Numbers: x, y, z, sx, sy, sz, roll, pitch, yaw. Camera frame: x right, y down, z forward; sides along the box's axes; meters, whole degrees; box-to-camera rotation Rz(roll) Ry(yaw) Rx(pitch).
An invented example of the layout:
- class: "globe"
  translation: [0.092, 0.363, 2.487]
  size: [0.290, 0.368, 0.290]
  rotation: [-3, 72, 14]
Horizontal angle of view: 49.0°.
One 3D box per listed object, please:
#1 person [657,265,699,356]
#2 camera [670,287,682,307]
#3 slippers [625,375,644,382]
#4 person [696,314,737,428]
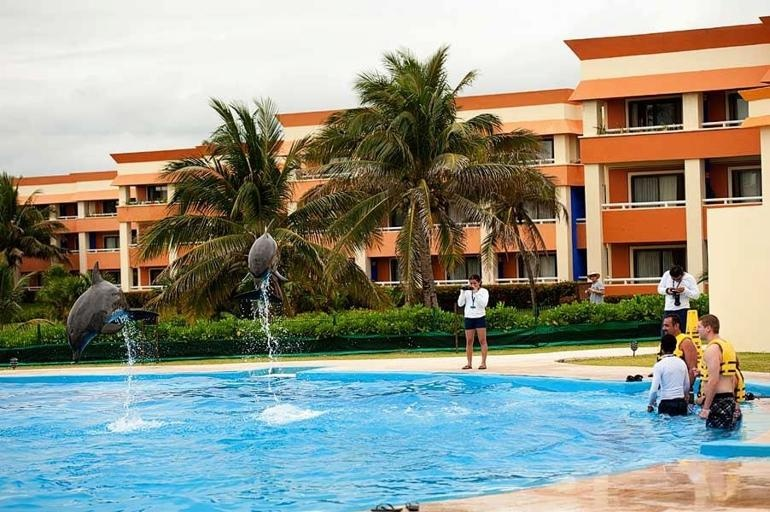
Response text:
- class: "person"
  translation: [6.923, 1.115, 19.641]
  size: [0.783, 2.242, 0.850]
  rotation: [-9, 3, -24]
- class: "camera"
  translation: [6.737, 0.943, 19.455]
  size: [0.173, 0.404, 0.183]
  rotation: [-2, -2, 24]
- class: "slippers"
  translation: [5.678, 2.770, 19.146]
  size: [0.420, 0.118, 0.364]
  rotation: [-2, -2, 5]
- class: "person"
  translation: [6.215, 2.591, 15.730]
  size: [0.789, 2.896, 1.037]
  rotation: [0, 2, 25]
